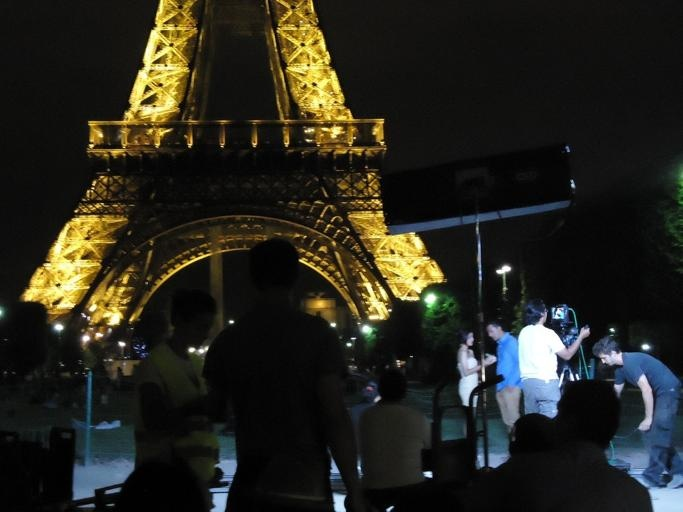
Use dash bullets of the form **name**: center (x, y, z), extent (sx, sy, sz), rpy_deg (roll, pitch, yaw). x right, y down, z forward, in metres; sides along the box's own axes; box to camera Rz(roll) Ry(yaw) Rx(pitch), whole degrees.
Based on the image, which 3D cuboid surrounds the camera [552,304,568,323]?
- **camera**: center (3.485, 0.907, 10.417), extent (0.351, 0.279, 0.238), rpy_deg (0, -2, 28)
